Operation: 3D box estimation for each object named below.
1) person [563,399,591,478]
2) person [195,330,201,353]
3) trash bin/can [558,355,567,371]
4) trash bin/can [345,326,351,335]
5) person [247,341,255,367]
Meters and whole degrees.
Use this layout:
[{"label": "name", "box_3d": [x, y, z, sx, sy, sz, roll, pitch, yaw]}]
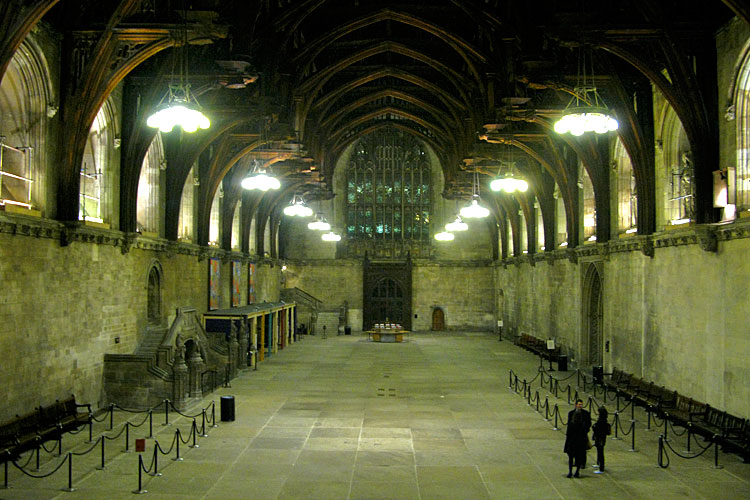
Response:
[{"label": "person", "box_3d": [6.342, 5.806, 25.968, 0.768, 2.455, 0.761, 3, 6, 32]}, {"label": "person", "box_3d": [-8.123, 4.109, 37.726, 0.279, 1.069, 0.791, -1, 5, -5]}, {"label": "trash bin/can", "box_3d": [9.294, 5.549, 41.153, 0.442, 0.832, 0.826, 1, 5, 10]}, {"label": "trash bin/can", "box_3d": [-1.999, 5.805, 60.664, 0.403, 0.759, 0.763, 0, 3, 10]}, {"label": "person", "box_3d": [-6.350, 5.269, 42.243, 0.404, 1.096, 1.061, -1, 5, -5]}]
